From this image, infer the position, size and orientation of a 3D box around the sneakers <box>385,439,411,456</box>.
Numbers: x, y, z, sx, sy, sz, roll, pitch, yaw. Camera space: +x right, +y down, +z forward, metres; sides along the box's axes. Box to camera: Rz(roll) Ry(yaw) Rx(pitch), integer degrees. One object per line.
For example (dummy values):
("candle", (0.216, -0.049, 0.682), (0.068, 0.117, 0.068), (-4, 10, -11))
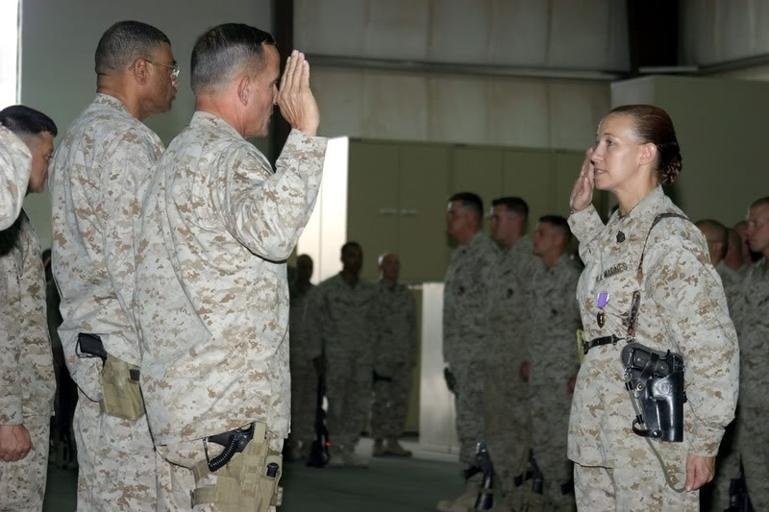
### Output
("sneakers", (0.072, 1.068, 5.878), (0.159, 0.118, 0.068), (-2, -1, 17))

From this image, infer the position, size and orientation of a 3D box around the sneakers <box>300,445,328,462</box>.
("sneakers", (-0.389, 1.154, 6.062), (0.155, 0.122, 0.087), (-5, -11, 32))

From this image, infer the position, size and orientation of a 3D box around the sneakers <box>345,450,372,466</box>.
("sneakers", (-0.152, 1.151, 5.989), (0.152, 0.108, 0.056), (-4, -1, 21))

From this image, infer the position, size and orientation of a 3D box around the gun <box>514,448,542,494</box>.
("gun", (0.796, 1.173, 5.720), (0.148, 0.215, 0.048), (-6, -5, 22))

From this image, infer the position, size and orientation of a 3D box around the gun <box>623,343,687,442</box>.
("gun", (1.105, 0.558, 4.351), (0.246, 0.394, 0.059), (0, -2, 13))
